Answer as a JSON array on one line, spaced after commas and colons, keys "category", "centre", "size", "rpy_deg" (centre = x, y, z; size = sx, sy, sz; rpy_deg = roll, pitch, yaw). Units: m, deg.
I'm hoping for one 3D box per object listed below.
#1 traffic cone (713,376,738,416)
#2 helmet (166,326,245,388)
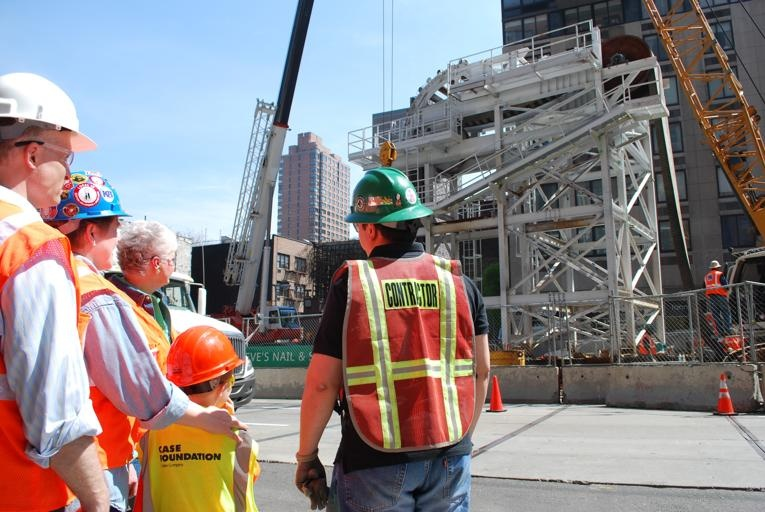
[{"category": "traffic cone", "centre": [6.380, 2.604, 14.111], "size": [0.323, 0.755, 1.147], "rpy_deg": [-4, -9, 24]}, {"category": "helmet", "centre": [-1.426, 0.793, 6.127], "size": [0.416, 0.319, 0.535], "rpy_deg": [-3, 15, 31]}]
